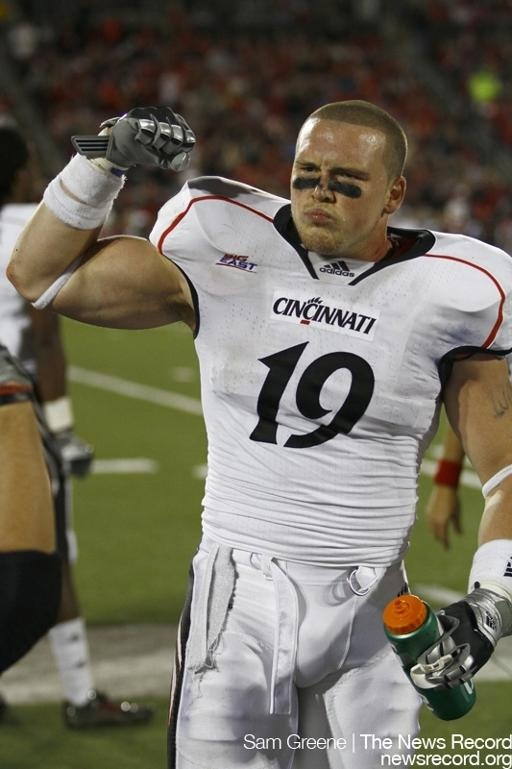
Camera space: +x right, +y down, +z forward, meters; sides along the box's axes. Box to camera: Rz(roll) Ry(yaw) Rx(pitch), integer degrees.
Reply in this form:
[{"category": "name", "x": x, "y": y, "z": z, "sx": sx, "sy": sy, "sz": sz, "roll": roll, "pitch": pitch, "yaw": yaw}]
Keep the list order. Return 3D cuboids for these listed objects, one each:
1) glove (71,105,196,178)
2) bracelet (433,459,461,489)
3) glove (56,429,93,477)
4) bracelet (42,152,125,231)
[{"category": "glove", "x": -0.247, "y": -0.494, "z": 1.754, "sx": 0.271, "sy": 0.097, "sz": 0.150, "roll": 0, "pitch": 1, "yaw": 24}, {"category": "bracelet", "x": 0.624, "y": 0.299, "z": 2.813, "sx": 0.098, "sy": 0.092, "sz": 0.093, "roll": 2, "pitch": 61, "yaw": 20}, {"category": "glove", "x": -0.415, "y": 0.163, "z": 1.972, "sx": 0.081, "sy": 0.108, "sz": 0.047, "roll": -3, "pitch": 33, "yaw": 13}, {"category": "bracelet", "x": -0.383, "y": -0.416, "z": 1.831, "sx": 0.178, "sy": 0.150, "sz": 0.152, "roll": 31, "pitch": 22, "yaw": 35}]
